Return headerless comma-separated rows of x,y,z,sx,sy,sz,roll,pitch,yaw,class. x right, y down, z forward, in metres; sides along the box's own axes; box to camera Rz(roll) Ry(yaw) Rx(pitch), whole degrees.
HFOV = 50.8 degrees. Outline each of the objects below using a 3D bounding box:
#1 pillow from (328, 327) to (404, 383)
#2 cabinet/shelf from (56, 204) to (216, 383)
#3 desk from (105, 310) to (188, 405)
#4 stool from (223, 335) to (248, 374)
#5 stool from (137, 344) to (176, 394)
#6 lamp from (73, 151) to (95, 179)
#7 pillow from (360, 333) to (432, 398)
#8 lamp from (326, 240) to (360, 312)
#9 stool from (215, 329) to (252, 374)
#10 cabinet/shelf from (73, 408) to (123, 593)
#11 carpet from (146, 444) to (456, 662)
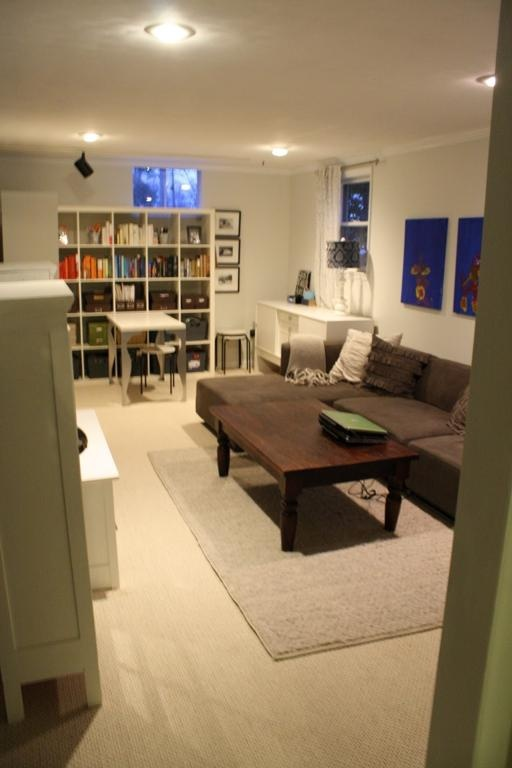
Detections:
0.940,-0.221,4.987,0.204,0.566,0.498,18,-8,-40,pillow
-1.519,-1.056,6.572,1.674,1.986,0.515,-11,4,3,cabinet/shelf
-1.281,-0.238,5.857,1.011,0.810,0.626,-2,8,-16,desk
-0.197,-0.423,7.162,0.382,0.597,0.416,0,5,-5,stool
-1.134,-0.191,6.323,0.382,0.538,0.406,-1,15,-18,stool
-1.923,-2.462,6.020,0.161,0.222,0.296,-30,-23,-4,lamp
1.222,-0.231,4.761,0.638,0.206,0.704,13,12,-14,pillow
0.946,-1.156,5.816,0.319,0.730,0.708,3,11,11,lamp
-0.249,-0.445,7.186,0.475,0.724,0.516,-1,5,-10,stool
-0.739,0.736,2.606,0.176,0.488,0.555,-6,-19,-9,cabinet/shelf
0.275,0.815,3.080,1.236,0.064,1.992,-4,13,-23,carpet
